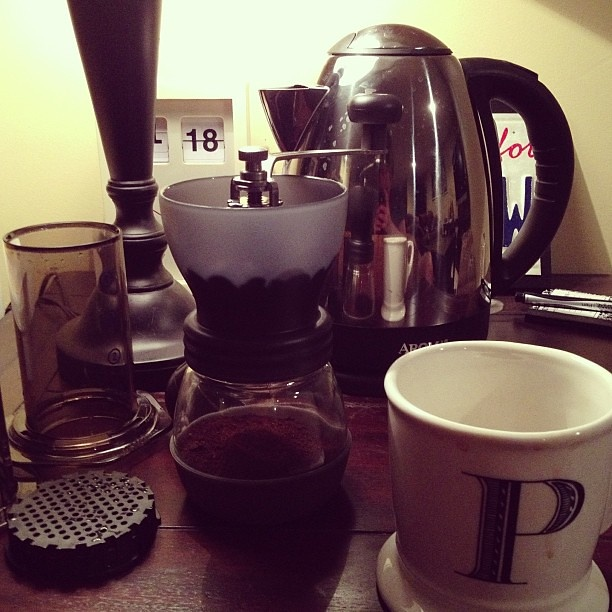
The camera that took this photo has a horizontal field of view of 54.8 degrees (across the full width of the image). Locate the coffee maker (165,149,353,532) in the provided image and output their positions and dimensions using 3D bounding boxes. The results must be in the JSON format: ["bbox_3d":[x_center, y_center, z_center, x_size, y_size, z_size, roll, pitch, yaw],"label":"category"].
[{"bbox_3d":[-0.031,-0.016,0.364,0.119,0.250,0.142,-4,18,-16],"label":"coffee maker"}]

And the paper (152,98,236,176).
[{"bbox_3d":[-0.154,-0.247,0.775,0.120,0.078,0.125,-3,-22,-11],"label":"paper"}]

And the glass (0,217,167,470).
[{"bbox_3d":[-0.128,0.017,0.330,0.088,0.121,0.073,-10,17,-28],"label":"glass"}]

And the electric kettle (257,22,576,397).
[{"bbox_3d":[0.086,-0.064,0.425,0.182,0.255,0.139,-1,3,20],"label":"electric kettle"}]

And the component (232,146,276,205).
[{"bbox_3d":[-0.023,-0.054,0.251,0.020,0.028,0.023,-6,26,-14],"label":"component"}]
